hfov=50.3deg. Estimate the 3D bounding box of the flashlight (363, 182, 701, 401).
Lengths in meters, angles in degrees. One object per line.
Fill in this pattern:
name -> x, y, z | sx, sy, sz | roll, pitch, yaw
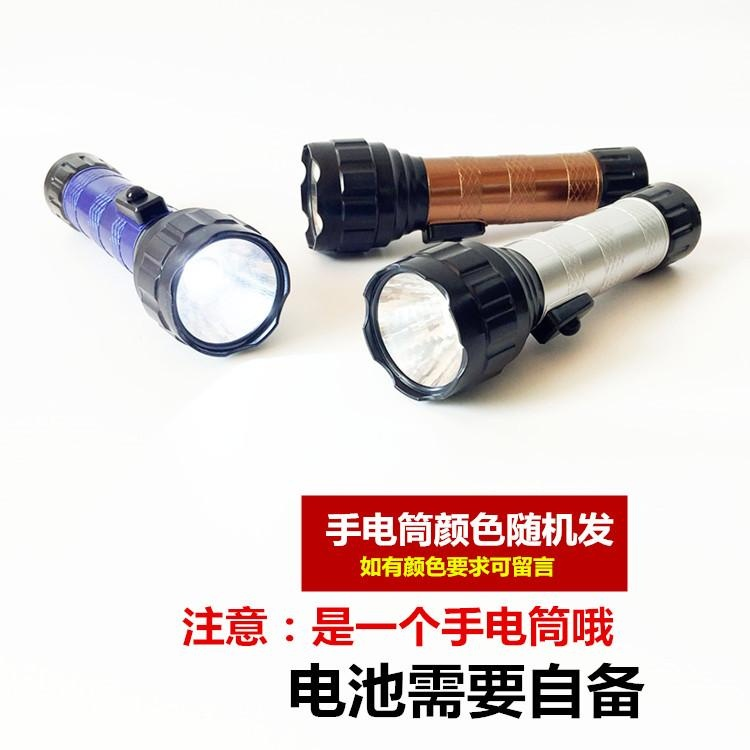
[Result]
flashlight -> 0.435, -0.247, 1.994 | 0.967, 0.330, 0.383 | -18, 3, -34
